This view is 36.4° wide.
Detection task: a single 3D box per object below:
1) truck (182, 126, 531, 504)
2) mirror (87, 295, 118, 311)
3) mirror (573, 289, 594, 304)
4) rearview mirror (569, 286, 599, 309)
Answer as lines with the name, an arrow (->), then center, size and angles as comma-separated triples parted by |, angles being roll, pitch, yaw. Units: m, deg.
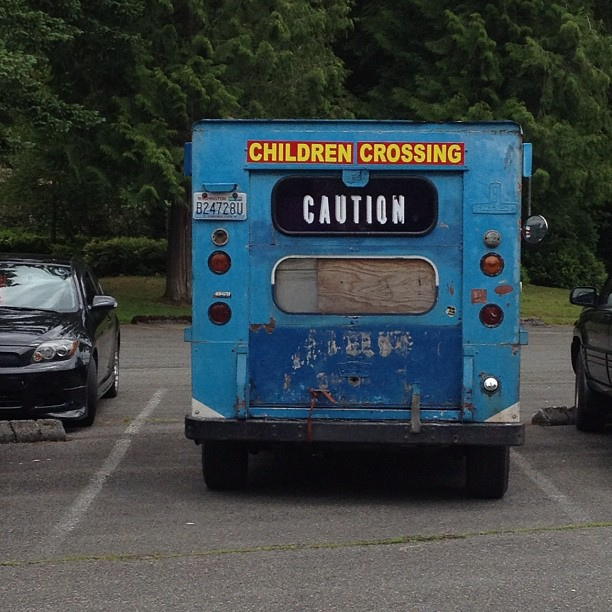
truck -> 0.371, -0.068, 7.502 | 2.046, 1.561, 3.108 | 1, 5, 3
mirror -> -2.104, -0.037, 9.600 | 0.161, 0.110, 0.244 | 2, 2, 28
mirror -> 2.745, -0.100, 9.296 | 0.134, 0.146, 0.255 | 10, 17, 39
rearview mirror -> 2.779, -0.096, 9.375 | 0.306, 0.221, 0.273 | 0, -1, -10
